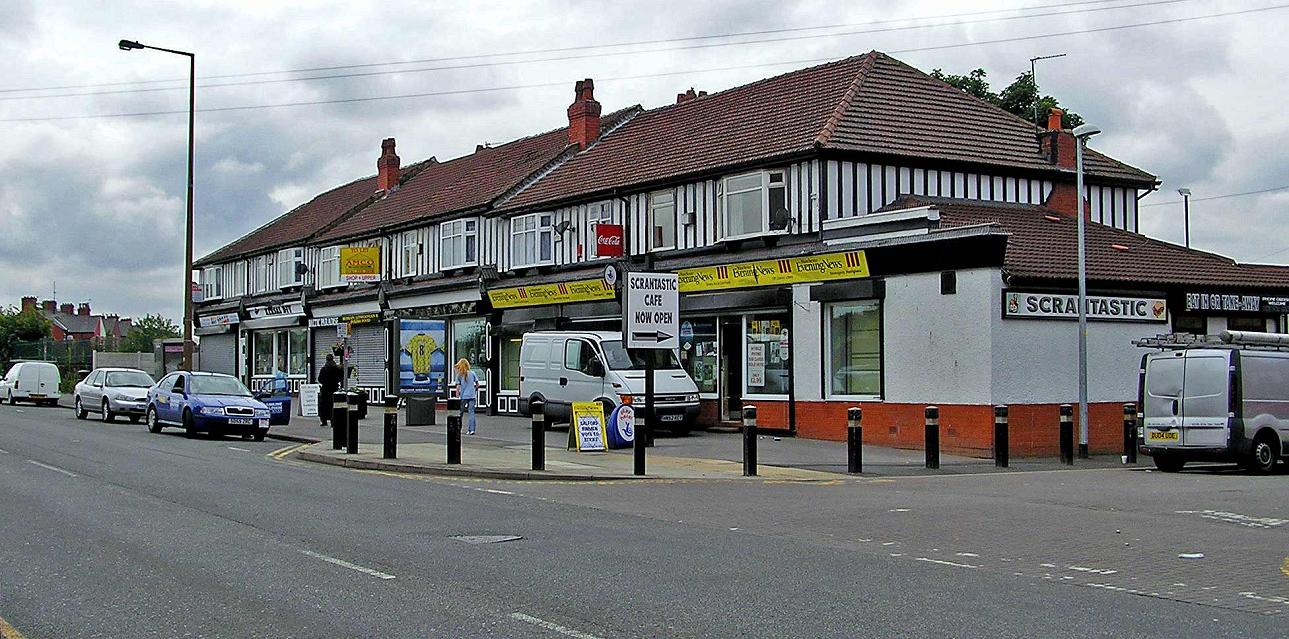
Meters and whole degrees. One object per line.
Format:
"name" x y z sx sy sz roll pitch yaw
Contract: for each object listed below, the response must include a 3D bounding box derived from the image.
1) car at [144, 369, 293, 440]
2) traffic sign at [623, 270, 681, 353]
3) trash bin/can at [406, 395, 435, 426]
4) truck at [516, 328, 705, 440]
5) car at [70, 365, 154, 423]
"car" -14.802 2.917 43.150 6.520 1.954 2.495 -1 -2 43
"traffic sign" 0.163 -0.297 37.198 1.654 2.155 0.786 -3 16 -14
"trash bin/can" -8.252 3.333 46.958 1.274 1.027 0.602 1 -7 -15
"truck" -1.137 1.958 44.442 3.438 2.636 5.773 4 -7 -39
"car" -20.769 2.901 50.618 2.338 1.639 5.265 3 -2 -42
